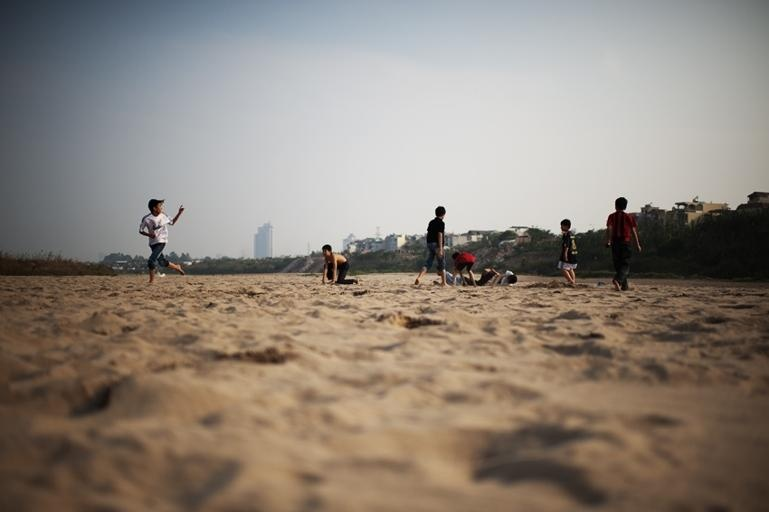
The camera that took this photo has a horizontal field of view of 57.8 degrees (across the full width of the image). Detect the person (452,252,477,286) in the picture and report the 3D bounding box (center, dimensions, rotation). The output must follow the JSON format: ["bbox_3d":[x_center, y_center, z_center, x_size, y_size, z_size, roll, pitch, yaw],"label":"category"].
[{"bbox_3d":[1.523,0.241,13.263,0.402,0.636,1.523,1,-3,6],"label":"person"}]

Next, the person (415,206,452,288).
[{"bbox_3d":[0.857,-0.169,12.442,0.498,1.367,1.495,1,-3,3],"label":"person"}]

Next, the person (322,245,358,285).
[{"bbox_3d":[-0.876,0.164,13.628,0.653,0.815,0.438,2,5,-2],"label":"person"}]

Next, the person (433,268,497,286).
[{"bbox_3d":[1.681,0.402,13.018,0.715,0.244,0.528,-18,-11,17],"label":"person"}]

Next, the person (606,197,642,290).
[{"bbox_3d":[3.733,-0.174,10.897,0.478,1.427,1.249,0,-3,18],"label":"person"}]
